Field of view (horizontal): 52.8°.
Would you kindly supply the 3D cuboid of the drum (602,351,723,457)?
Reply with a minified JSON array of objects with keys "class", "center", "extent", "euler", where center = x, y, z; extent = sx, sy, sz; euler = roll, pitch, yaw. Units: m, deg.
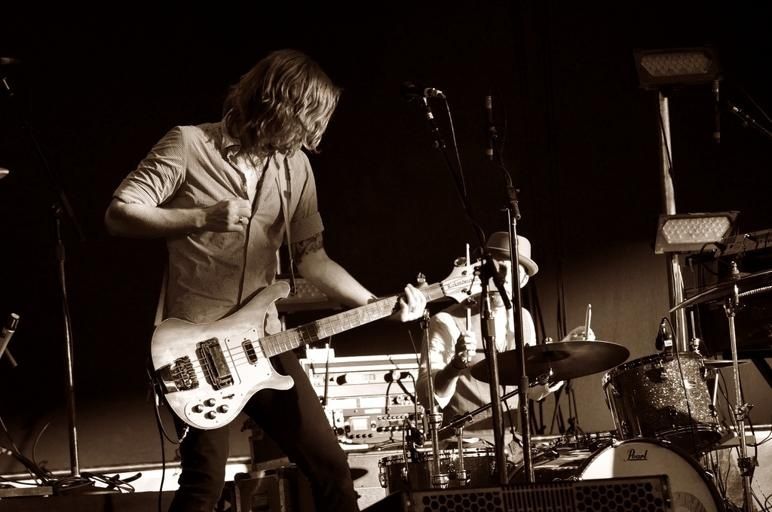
[{"class":"drum","center":[2.044,1.162,5.716],"extent":[0.801,0.627,0.808],"euler":[-7,-28,-4]}]

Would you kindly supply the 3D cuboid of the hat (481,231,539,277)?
[{"class":"hat","center":[1.102,-0.030,6.567],"extent":[0.413,0.176,0.506],"euler":[3,-32,39]}]

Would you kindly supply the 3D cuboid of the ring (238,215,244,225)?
[{"class":"ring","center":[-0.858,-0.220,4.599],"extent":[0.056,0.058,0.014],"euler":[3,-2,-23]}]

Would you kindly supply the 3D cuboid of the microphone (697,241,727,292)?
[{"class":"microphone","center":[2.724,0.074,6.516],"extent":[0.196,0.294,0.599],"euler":[-8,-14,15]}]
